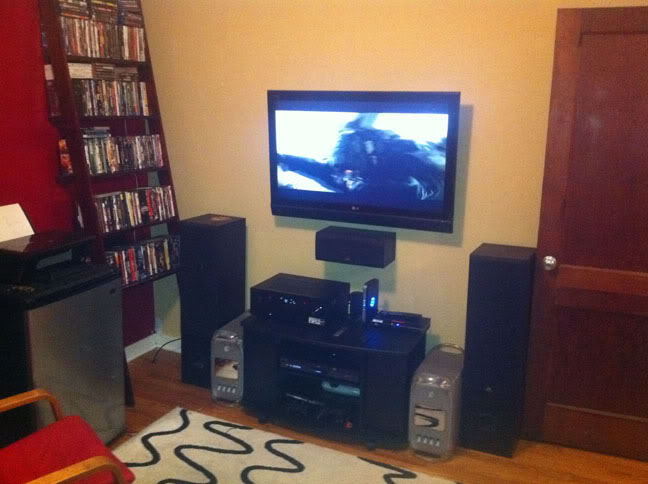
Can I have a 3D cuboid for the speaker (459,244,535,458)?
[{"bbox_3d":[1.048,0.719,3.384,0.366,1.266,0.181,4,14,8],"label":"speaker"}]
